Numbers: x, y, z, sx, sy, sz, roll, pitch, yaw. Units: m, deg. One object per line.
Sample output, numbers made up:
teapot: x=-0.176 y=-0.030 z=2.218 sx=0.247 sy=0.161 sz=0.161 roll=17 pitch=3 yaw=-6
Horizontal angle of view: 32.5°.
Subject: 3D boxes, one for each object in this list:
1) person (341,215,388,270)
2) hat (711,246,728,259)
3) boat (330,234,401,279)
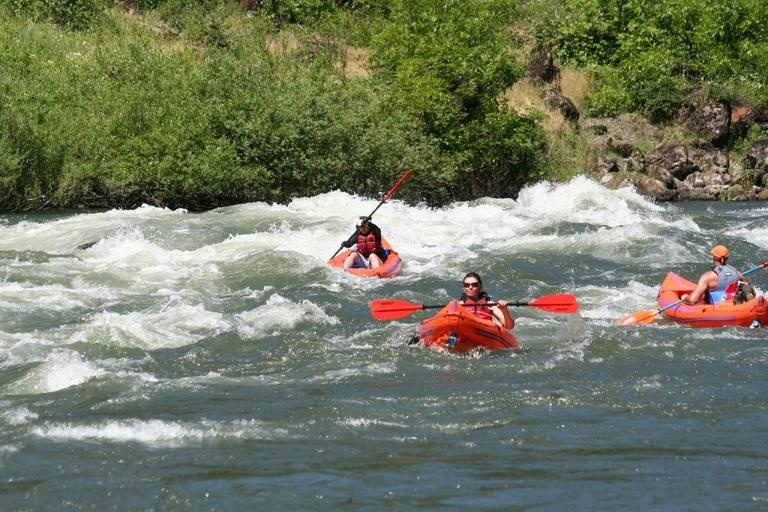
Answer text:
person: x=-0.500 y=-0.273 z=31.733 sx=0.900 sy=0.805 sz=1.513 roll=-4 pitch=7 yaw=9
hat: x=7.392 y=-0.113 z=28.827 sx=0.314 sy=0.276 sz=0.359 roll=12 pitch=17 yaw=1
boat: x=-0.411 y=0.132 z=31.289 sx=1.669 sy=0.553 sz=1.434 roll=-3 pitch=10 yaw=-3
